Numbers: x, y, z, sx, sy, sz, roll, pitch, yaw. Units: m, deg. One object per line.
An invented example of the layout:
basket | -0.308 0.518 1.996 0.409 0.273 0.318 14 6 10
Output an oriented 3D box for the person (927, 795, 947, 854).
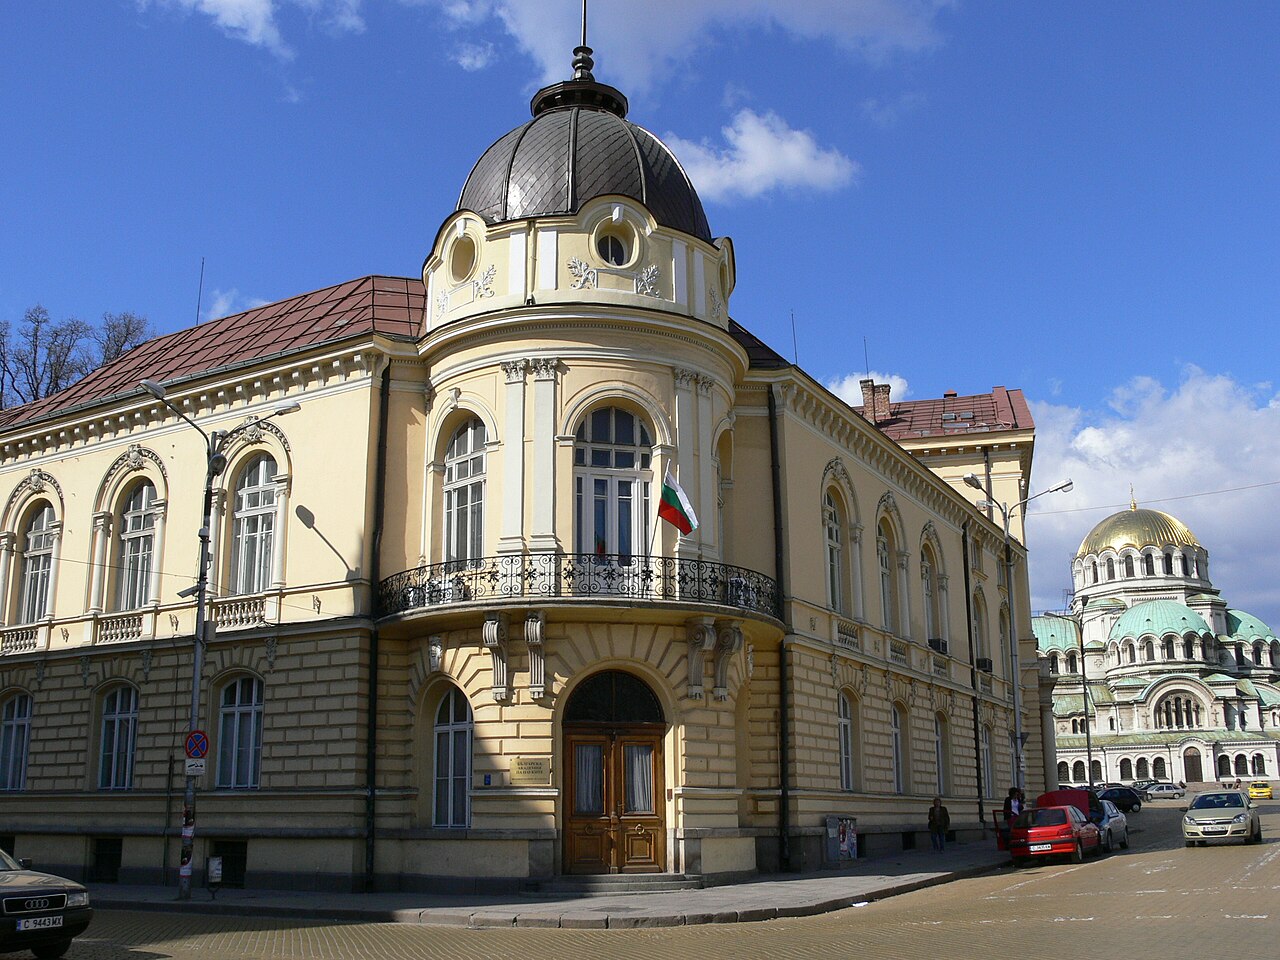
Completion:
person | 9.401 10.841 40.267 0.487 1.583 1.576 -6 -19 13

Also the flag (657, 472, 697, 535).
flag | 0.890 0.637 31.096 0.706 1.481 1.188 -10 -20 23
